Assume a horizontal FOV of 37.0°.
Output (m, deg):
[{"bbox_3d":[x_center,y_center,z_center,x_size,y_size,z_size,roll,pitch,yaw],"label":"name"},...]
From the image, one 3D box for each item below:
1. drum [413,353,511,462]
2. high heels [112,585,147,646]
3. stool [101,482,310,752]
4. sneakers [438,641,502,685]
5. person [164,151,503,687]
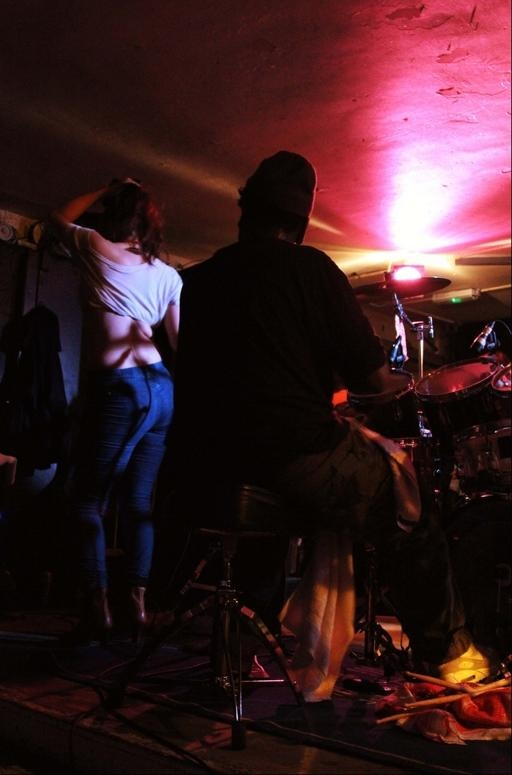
[{"bbox_3d":[0.888,0.069,3.132,0.416,0.274,0.425,-23,-1,0],"label":"drum"},{"bbox_3d":[-0.473,0.860,2.868,0.149,0.333,0.137,-1,42,-6],"label":"high heels"},{"bbox_3d":[-0.084,0.560,1.927,0.501,0.552,0.425,7,-15,-4],"label":"stool"},{"bbox_3d":[0.622,0.791,2.228,0.142,0.060,0.233,-7,-11,39],"label":"sneakers"},{"bbox_3d":[0.171,0.167,1.994,0.790,1.159,0.260,0,-4,-5],"label":"person"}]
